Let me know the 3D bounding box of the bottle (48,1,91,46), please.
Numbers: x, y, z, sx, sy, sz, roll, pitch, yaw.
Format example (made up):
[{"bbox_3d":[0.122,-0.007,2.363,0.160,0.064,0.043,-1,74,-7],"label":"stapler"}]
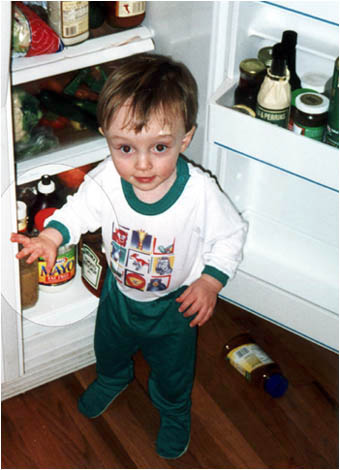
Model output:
[{"bbox_3d":[-0.195,-0.424,0.743,0.089,0.077,0.095,-11,33,-22],"label":"bottle"}]

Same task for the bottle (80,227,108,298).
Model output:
[{"bbox_3d":[-0.170,0.057,0.828,0.043,0.158,0.063,-18,59,-25],"label":"bottle"}]

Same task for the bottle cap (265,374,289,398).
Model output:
[{"bbox_3d":[0.292,0.418,1.025,0.048,0.064,0.037,-14,50,-19],"label":"bottle cap"}]

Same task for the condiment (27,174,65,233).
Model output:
[{"bbox_3d":[-0.244,-0.053,0.737,0.051,0.117,0.050,28,47,25],"label":"condiment"}]

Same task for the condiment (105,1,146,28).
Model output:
[{"bbox_3d":[-0.096,-0.470,0.788,0.077,0.062,0.078,28,45,36],"label":"condiment"}]

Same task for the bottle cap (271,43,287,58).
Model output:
[{"bbox_3d":[0.194,-0.325,0.653,0.025,0.021,0.048,10,31,13],"label":"bottle cap"}]

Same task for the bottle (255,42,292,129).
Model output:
[{"bbox_3d":[0.193,-0.251,0.691,0.062,0.168,0.059,-2,23,1],"label":"bottle"}]

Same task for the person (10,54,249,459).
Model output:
[{"bbox_3d":[-0.064,0.100,0.799,0.373,0.811,0.268,9,31,8],"label":"person"}]

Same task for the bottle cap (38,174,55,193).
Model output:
[{"bbox_3d":[-0.234,-0.095,0.700,0.028,0.029,0.029,41,52,9],"label":"bottle cap"}]

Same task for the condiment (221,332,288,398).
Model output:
[{"bbox_3d":[0.243,0.378,1.076,0.107,0.089,0.197,-15,35,-28],"label":"condiment"}]
